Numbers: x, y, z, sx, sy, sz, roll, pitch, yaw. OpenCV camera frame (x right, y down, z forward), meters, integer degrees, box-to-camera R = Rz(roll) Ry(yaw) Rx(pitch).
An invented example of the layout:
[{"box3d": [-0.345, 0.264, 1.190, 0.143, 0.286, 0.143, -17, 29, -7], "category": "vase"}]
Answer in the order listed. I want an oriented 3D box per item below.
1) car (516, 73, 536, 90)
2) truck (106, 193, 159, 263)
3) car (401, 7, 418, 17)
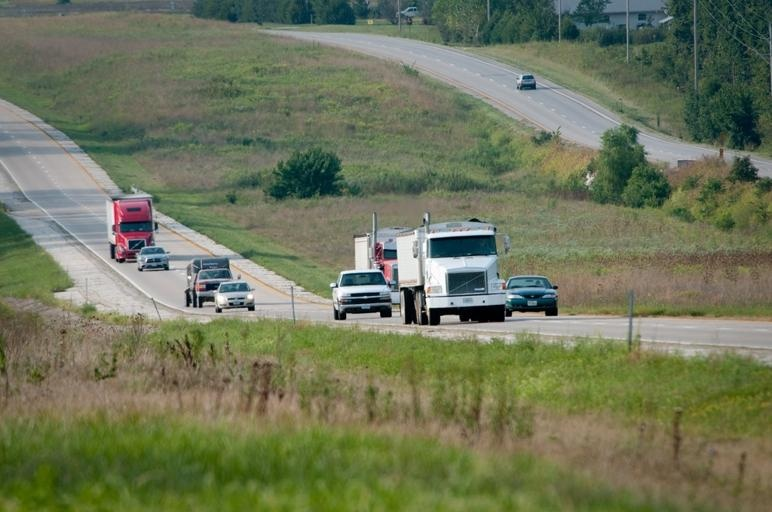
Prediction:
[{"box3d": [21.845, -26.950, 303.947, 2.815, 2.542, 1.979, 0, 18, 4], "category": "car"}, {"box3d": [-32.057, -3.678, 246.179, 3.630, 6.743, 10.680, -2, 0, -10], "category": "truck"}, {"box3d": [4.613, -47.274, 378.629, 2.733, 1.519, 1.777, -2, 4, 1], "category": "car"}]
